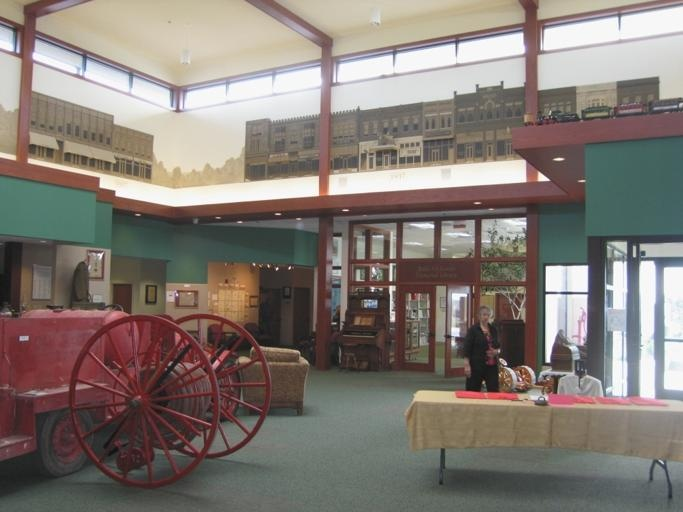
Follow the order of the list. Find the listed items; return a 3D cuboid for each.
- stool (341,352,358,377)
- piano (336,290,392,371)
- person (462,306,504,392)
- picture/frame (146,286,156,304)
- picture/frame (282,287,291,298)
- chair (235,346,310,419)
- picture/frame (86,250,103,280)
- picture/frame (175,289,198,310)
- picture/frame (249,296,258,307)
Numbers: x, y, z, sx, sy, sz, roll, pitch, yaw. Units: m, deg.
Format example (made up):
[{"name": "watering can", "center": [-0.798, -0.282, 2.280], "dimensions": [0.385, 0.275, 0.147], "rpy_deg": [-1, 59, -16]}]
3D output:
[{"name": "stool", "center": [0.191, 2.697, 15.159], "dimensions": [0.331, 0.572, 0.458], "rpy_deg": [0, -14, -5]}, {"name": "piano", "center": [0.604, 1.905, 15.343], "dimensions": [1.308, 1.996, 0.994], "rpy_deg": [0, 1, 4]}, {"name": "person", "center": [2.157, 1.440, 9.251], "dimensions": [0.745, 1.321, 0.328], "rpy_deg": [0, 2, -25]}, {"name": "picture/frame", "center": [-6.234, 1.268, 19.593], "dimensions": [0.098, 0.644, 0.454], "rpy_deg": [1, 2, 31]}, {"name": "picture/frame", "center": [-1.945, 1.315, 21.368], "dimensions": [0.384, 0.413, 0.086], "rpy_deg": [1, 2, 40]}, {"name": "chair", "center": [-1.183, 2.231, 10.820], "dimensions": [1.060, 1.468, 1.119], "rpy_deg": [1, -3, 0]}, {"name": "picture/frame", "center": [-5.372, 0.184, 12.959], "dimensions": [0.052, 0.425, 0.543], "rpy_deg": [-1, 10, 17]}, {"name": "picture/frame", "center": [-4.629, 1.289, 17.964], "dimensions": [0.834, 0.777, 0.454], "rpy_deg": [3, -5, -12]}, {"name": "picture/frame", "center": [-3.145, 1.608, 21.047], "dimensions": [0.027, 0.389, 0.366], "rpy_deg": [-5, -6, 34]}]
